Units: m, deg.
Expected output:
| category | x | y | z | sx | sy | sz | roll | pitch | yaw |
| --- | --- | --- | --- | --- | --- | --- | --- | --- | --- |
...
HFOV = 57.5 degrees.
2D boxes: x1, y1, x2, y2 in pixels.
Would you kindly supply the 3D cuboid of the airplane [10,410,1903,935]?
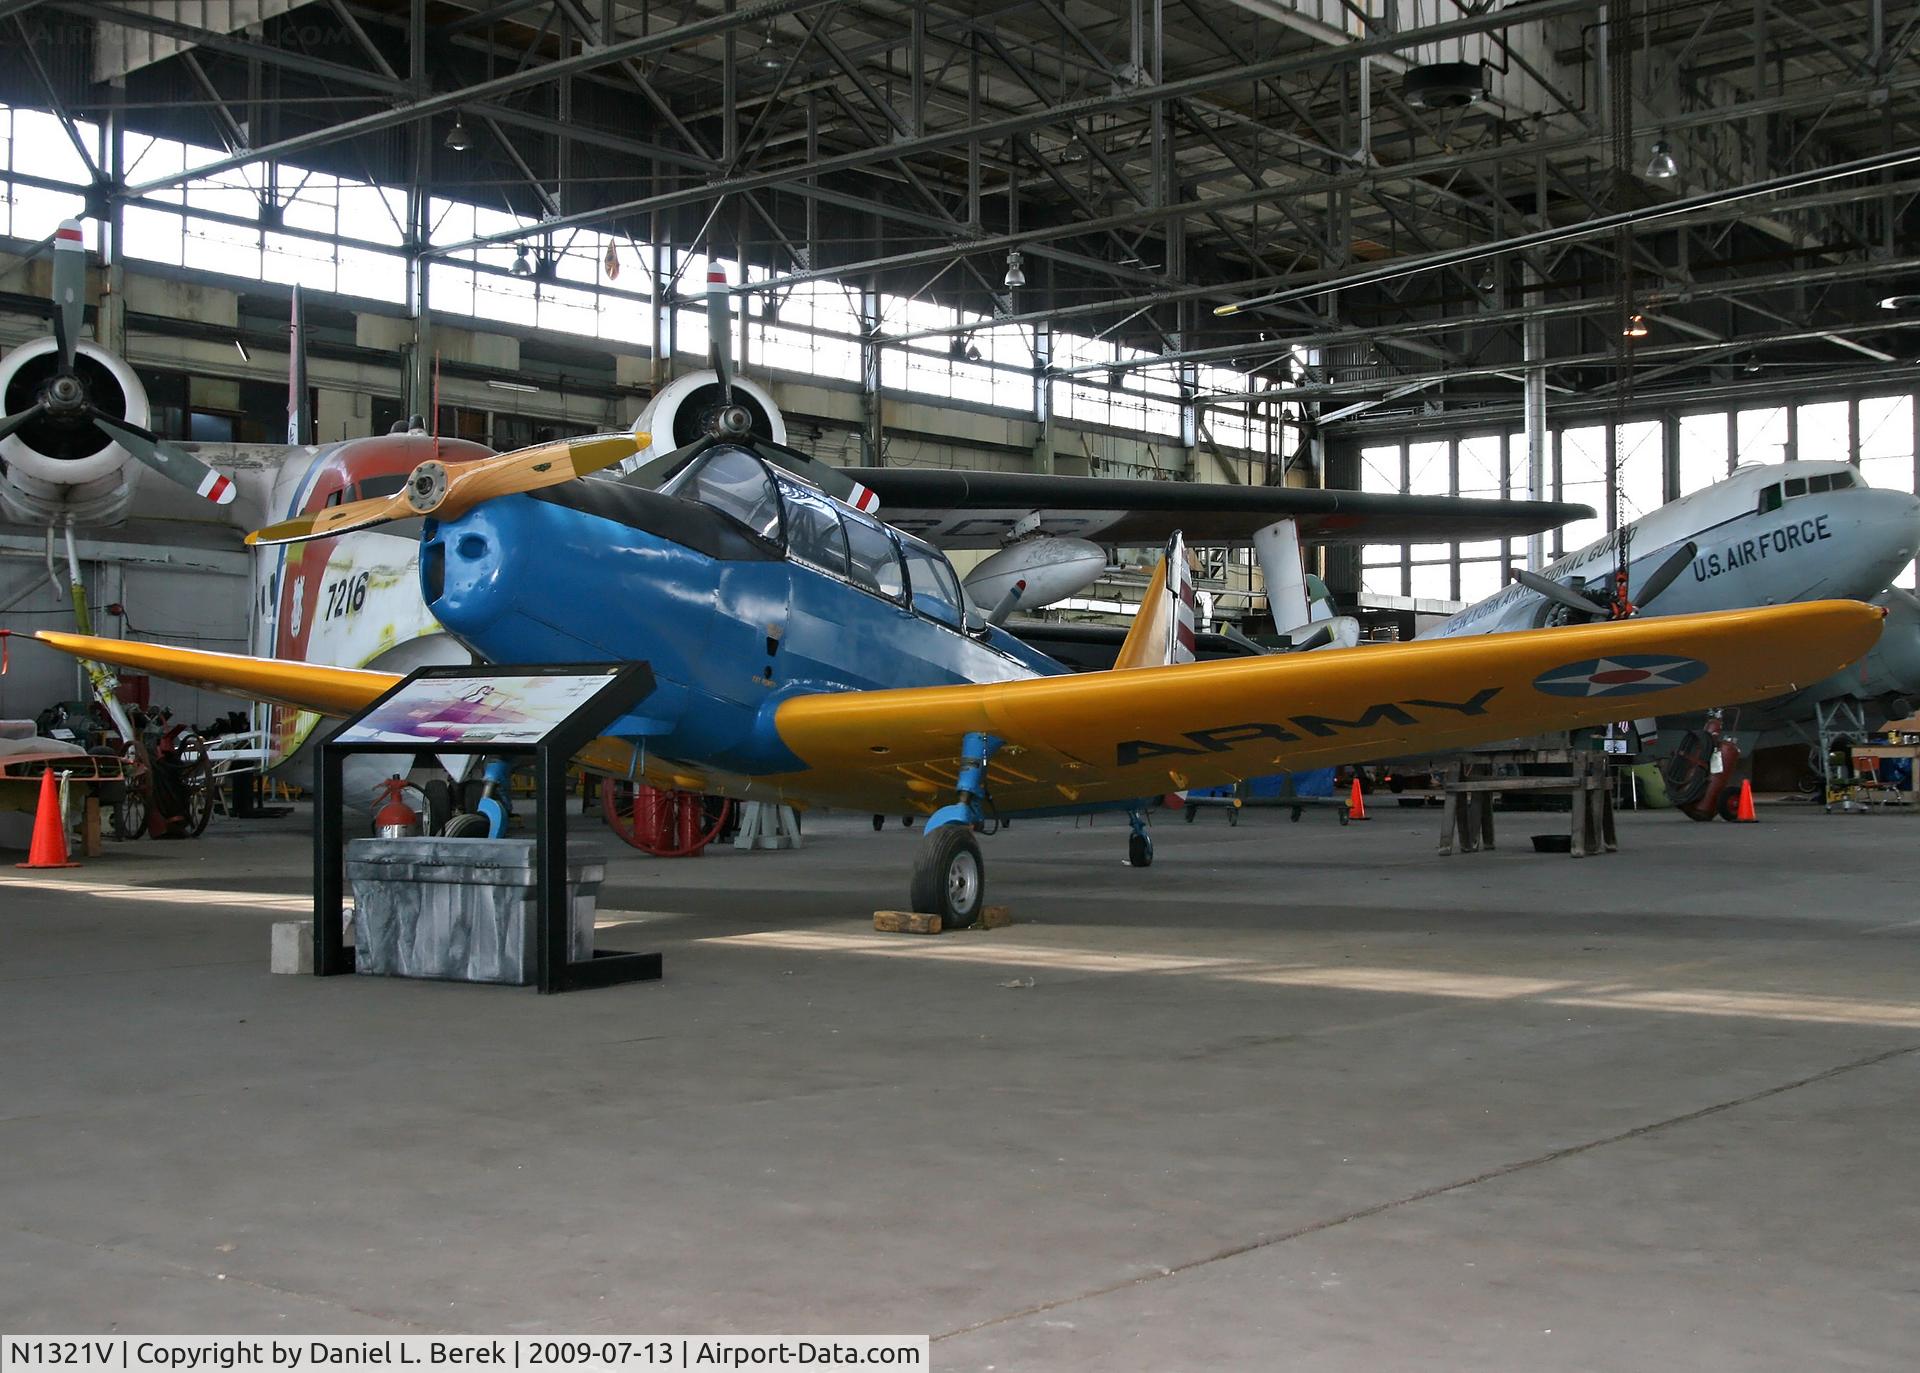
| category | x | y | z | sx | sy | sz | roll | pitch | yaw |
| --- | --- | --- | --- | --- | --- | --- | --- | --- | --- |
| airplane | 0.489 | -0.100 | 9.003 | 6.307 | 1.300 | 5.086 | -3 | -11 | 38 |
